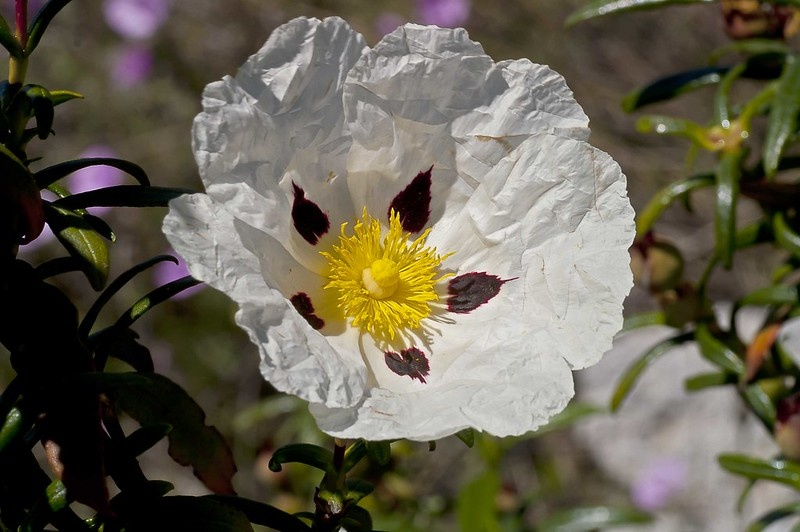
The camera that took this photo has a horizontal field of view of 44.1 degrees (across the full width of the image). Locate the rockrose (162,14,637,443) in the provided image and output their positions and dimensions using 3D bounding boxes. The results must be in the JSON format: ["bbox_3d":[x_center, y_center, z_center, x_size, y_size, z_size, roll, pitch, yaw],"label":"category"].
[{"bbox_3d":[0.043,-0.165,4.140,1.841,0.660,1.687,26,85,3],"label":"rockrose"}]
